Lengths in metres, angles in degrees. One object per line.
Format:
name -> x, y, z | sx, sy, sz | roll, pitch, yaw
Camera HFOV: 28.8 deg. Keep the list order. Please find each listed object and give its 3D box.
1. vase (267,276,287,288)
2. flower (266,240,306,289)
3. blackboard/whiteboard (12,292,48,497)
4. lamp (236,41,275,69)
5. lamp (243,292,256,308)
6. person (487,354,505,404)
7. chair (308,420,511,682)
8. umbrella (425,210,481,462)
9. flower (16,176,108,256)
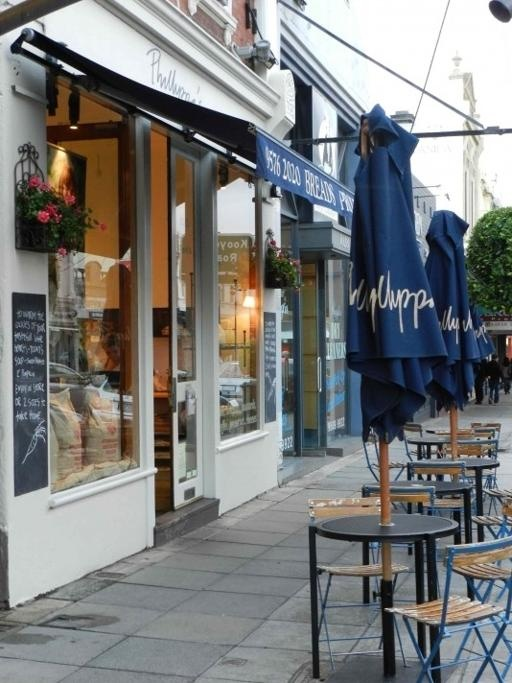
vase -> 0.231, -0.688, 11.737 | 0.194, 0.126, 0.143 | -1, -3, 14
flower -> 0.308, -0.906, 11.818 | 0.338, 0.577, 0.529 | 0, 0, 15
blackboard/whiteboard -> -1.504, 0.348, 6.645 | 0.088, 0.861, 0.474 | 0, 0, 10
lamp -> 0.027, -3.184, 11.096 | 0.311, 0.126, 0.317 | 23, 22, 35
lamp -> -0.075, -0.450, 11.253 | 0.149, 0.159, 0.143 | 1, -7, -16
person -> 7.151, 1.180, 29.807 | 0.605, 1.542, 0.661 | -8, 20, -8
chair -> 0.961, 1.148, 5.952 | 1.060, 2.047, 1.082 | -1, -3, 27
umbrella -> 1.733, -0.170, 8.930 | 0.569, 1.962, 0.555 | -1, 3, 4
flower -> -1.358, -0.848, 6.888 | 0.400, 0.410, 0.568 | 2, 3, -43
